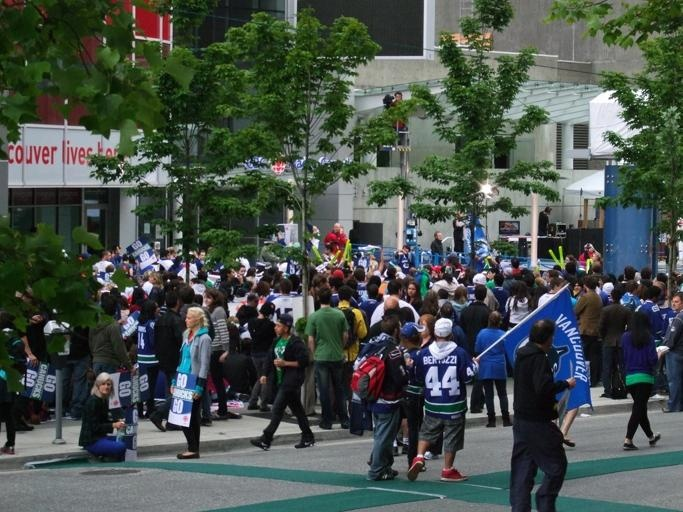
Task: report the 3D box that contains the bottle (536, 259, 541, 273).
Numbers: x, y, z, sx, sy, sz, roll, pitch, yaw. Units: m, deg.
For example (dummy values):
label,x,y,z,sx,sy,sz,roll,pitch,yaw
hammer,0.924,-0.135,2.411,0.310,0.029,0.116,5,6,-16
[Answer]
label,x,y,z,sx,sy,sz,roll,pitch,yaw
bottle,5.398,0.294,41.999,0.182,0.387,0.106,6,0,-27

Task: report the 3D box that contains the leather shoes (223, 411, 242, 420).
label,x,y,z,sx,sy,sz,roll,pitch,yaw
leather shoes,-2.077,3.021,28.614,0.337,0.220,0.112,-3,3,-9

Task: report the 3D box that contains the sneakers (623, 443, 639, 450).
label,x,y,z,sx,sy,sz,roll,pitch,yaw
sneakers,4.975,3.327,26.307,0.241,0.108,0.103,0,3,-22

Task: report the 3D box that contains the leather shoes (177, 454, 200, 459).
label,x,y,z,sx,sy,sz,roll,pitch,yaw
leather shoes,-2.645,3.446,25.969,0.287,0.111,0.148,6,-3,0

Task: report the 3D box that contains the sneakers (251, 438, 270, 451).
label,x,y,z,sx,sy,sz,roll,pitch,yaw
sneakers,-1.429,3.317,26.615,0.378,0.164,0.159,27,23,-25

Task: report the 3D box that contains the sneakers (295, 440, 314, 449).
label,x,y,z,sx,sy,sz,roll,pitch,yaw
sneakers,-0.672,3.351,26.898,0.364,0.140,0.129,7,-10,-24
